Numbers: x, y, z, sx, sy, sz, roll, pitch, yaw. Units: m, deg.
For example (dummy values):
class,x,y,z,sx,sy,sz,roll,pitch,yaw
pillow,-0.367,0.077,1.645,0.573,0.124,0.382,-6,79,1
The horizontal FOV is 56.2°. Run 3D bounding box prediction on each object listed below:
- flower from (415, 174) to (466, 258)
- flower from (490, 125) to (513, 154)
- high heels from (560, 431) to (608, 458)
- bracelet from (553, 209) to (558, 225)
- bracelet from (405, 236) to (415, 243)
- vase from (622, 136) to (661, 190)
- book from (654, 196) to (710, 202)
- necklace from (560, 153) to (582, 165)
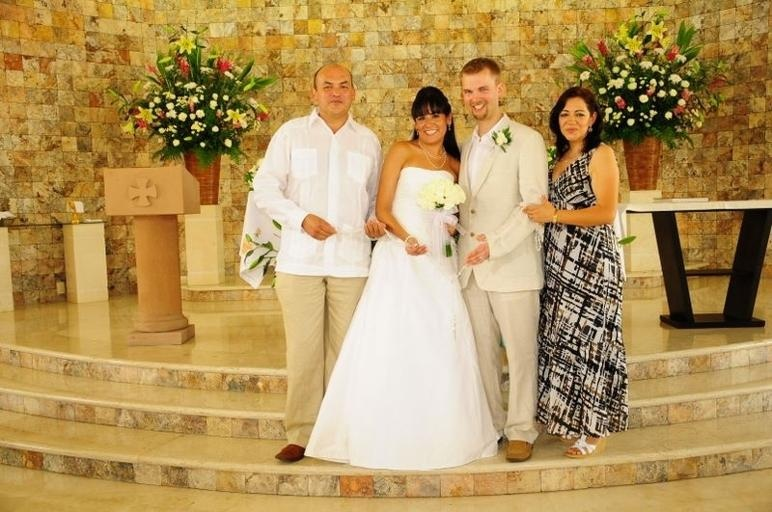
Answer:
class,x,y,z,sx,sy,sz,roll,pitch,yaw
flower,0.508,-0.308,5.784,0.324,0.664,0.463,2,4,35
flower,0.932,-0.938,5.782,0.161,0.202,0.079,-1,4,4
high heels,1.626,1.577,5.931,0.365,0.134,0.150,3,-4,-14
bracelet,1.348,-0.319,5.739,0.040,0.097,0.073,0,4,17
bracelet,0.195,-0.128,5.771,0.053,0.037,0.051,0,7,-1
vase,3.377,-1.222,9.643,0.671,0.751,0.613,-1,-2,3
book,3.097,-0.577,7.570,0.516,0.044,0.209,0,3,4
necklace,1.519,-0.807,5.977,0.018,0.088,0.158,7,-1,-27
